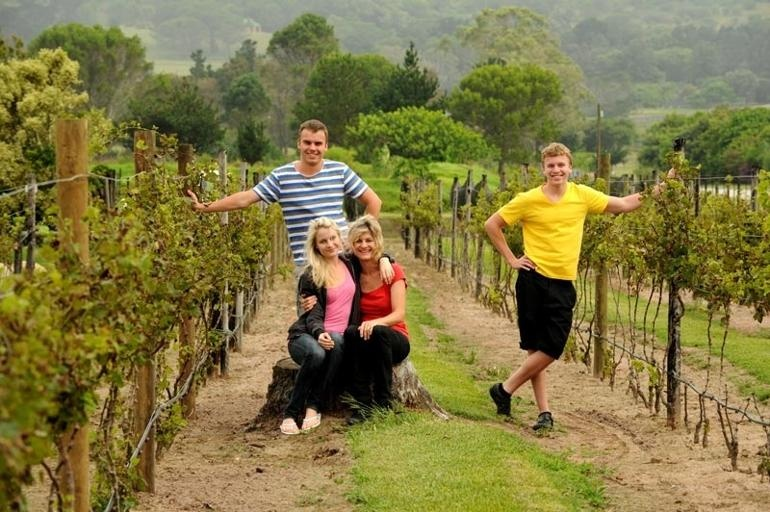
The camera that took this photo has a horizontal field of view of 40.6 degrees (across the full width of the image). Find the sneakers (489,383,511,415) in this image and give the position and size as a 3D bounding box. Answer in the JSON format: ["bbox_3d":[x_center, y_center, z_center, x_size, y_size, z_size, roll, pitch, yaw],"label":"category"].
[{"bbox_3d":[1.485,1.742,13.163,0.221,0.516,0.177,-11,6,20],"label":"sneakers"}]

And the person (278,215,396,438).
[{"bbox_3d":[-0.800,0.827,12.459,0.908,2.546,0.610,-1,11,-16],"label":"person"}]
